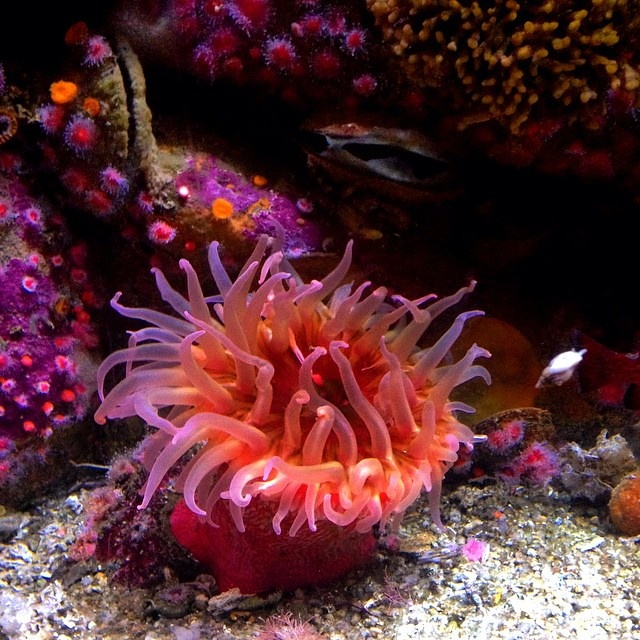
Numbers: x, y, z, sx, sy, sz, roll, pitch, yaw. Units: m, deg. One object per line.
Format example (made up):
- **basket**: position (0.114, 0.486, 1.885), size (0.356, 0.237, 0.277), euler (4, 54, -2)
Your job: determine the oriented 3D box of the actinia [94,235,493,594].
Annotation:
- **actinia**: position (-0.131, 0.469, 3.282), size (1.450, 1.092, 1.465), euler (13, 59, -28)
